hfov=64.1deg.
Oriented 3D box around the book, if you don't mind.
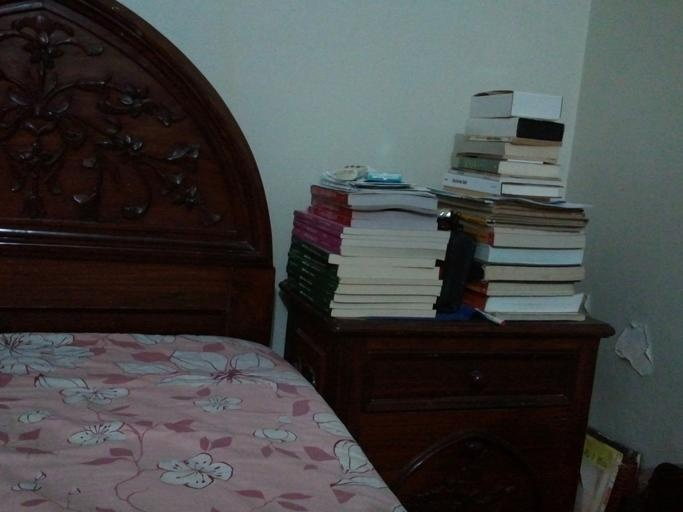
[{"bbox_3d":[0.201,-0.116,1.463,0.770,0.413,0.660,1,9,-7],"label":"book"}]
